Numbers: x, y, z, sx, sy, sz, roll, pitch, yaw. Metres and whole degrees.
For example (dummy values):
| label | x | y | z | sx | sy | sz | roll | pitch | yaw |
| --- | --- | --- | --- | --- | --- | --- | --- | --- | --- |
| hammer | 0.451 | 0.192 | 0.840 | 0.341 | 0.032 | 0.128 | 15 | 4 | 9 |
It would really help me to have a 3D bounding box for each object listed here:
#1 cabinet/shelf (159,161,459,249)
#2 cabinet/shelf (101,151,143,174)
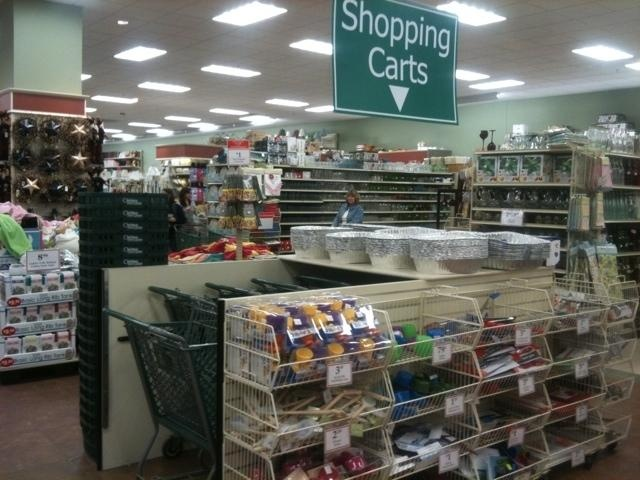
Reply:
| label | x | y | z | sx | sy | sz | roll | pitch | yaw |
| --- | --- | --- | --- | --- | --- | --- | --- | --- | --- |
| cabinet/shelf | 0.509 | -0.767 | 10.772 | 6.587 | 1.831 | 2.770 | -1 | 4 | -28 |
| cabinet/shelf | -9.576 | -3.889 | 23.646 | 1.795 | 1.300 | 3.256 | 0 | 4 | -21 |
